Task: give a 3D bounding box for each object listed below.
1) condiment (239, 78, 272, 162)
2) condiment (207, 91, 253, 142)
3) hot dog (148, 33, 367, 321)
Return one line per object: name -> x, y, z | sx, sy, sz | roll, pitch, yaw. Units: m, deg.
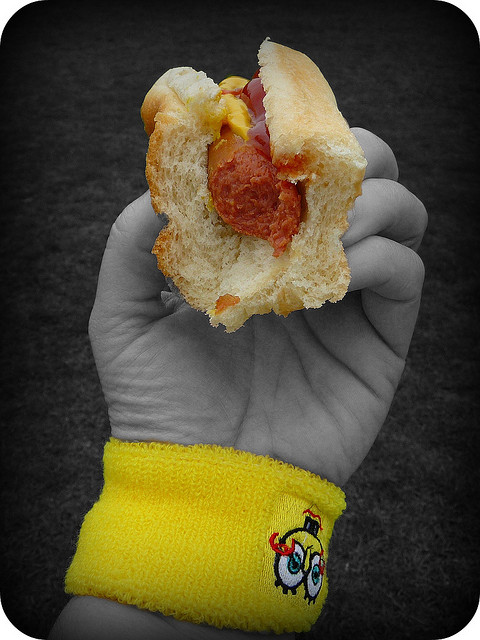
condiment -> 0.024, -0.299, 1.062 | 0.032, 0.110, 0.072 | -4, -13, -19
condiment -> -0.006, -0.302, 1.093 | 0.067, 0.081, 0.031 | -21, -7, 28
hot dog -> 0.038, -0.274, 1.173 | 0.365, 0.240, 0.618 | -15, 25, 23
